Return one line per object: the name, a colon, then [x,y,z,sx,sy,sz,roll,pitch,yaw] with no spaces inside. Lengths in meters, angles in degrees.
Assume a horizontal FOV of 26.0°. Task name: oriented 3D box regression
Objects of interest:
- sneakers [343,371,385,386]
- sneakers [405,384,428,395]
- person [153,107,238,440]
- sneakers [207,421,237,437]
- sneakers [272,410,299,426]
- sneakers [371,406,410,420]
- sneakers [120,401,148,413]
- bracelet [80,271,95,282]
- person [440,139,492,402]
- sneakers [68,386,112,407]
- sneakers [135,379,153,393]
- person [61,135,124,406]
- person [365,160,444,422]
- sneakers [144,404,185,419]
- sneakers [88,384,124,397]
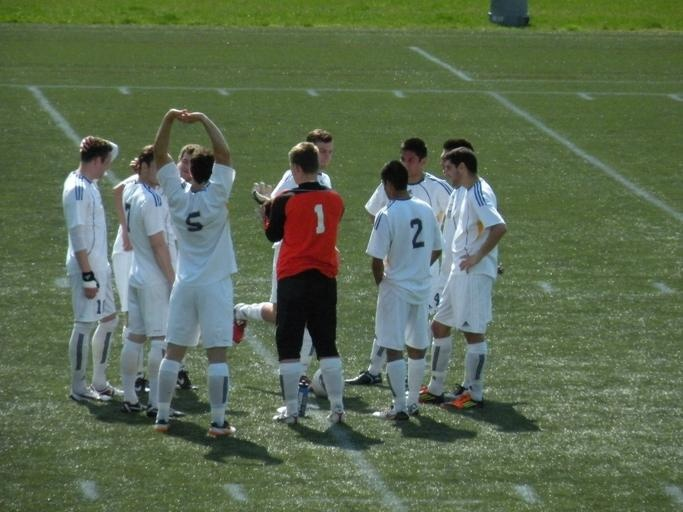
sneakers: [0.292,1.678,20.082,0.561,0.222,0.184,3,-4,-2]
sneakers: [1.049,1.787,19.629,0.115,0.130,0.315,-4,-7,13]
person: [-1.837,0.230,18.781,1.001,3.994,1.069,0,12,-8]
sneakers: [-1.520,2.204,18.839,0.404,0.194,0.143,-3,10,-15]
sneakers: [-0.724,2.084,19.078,0.303,0.124,0.153,9,9,20]
sneakers: [0.638,2.065,19.285,0.474,0.180,0.169,4,-1,23]
sneakers: [-2.683,1.971,19.210,0.360,0.145,0.126,-2,5,-11]
bracelet: [-3.265,0.294,19.162,0.133,0.097,0.132,0,1,-41]
person: [1.668,0.308,19.504,0.865,3.305,0.912,3,12,4]
sneakers: [-3.274,1.847,19.302,0.623,0.238,0.202,0,10,-13]
sneakers: [-2.634,1.732,19.662,0.236,0.222,0.142,-6,14,-42]
person: [-3.263,0.192,19.328,0.667,3.328,0.813,0,12,-10]
person: [0.747,0.454,19.260,0.821,3.254,0.912,6,13,15]
sneakers: [-2.250,2.006,19.116,0.548,0.223,0.181,0,2,-12]
sneakers: [-3.108,1.805,19.453,0.511,0.207,0.168,0,19,-22]
